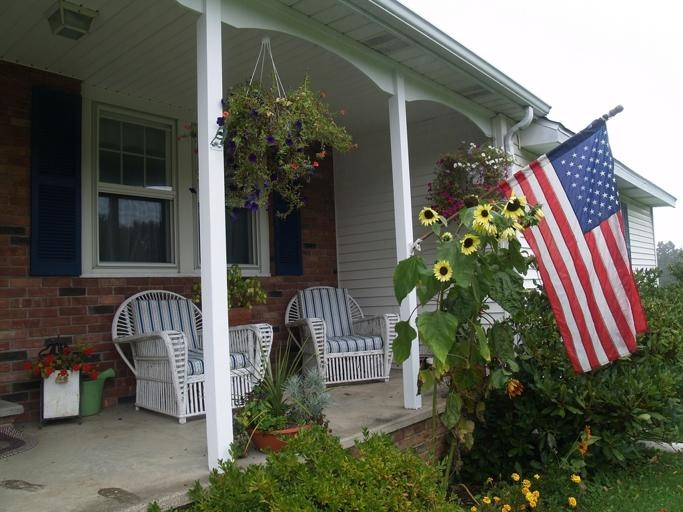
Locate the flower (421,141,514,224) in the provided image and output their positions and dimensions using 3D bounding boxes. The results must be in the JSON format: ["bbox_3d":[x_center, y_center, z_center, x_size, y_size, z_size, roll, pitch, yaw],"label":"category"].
[{"bbox_3d":[1.547,-0.938,6.654,0.891,0.985,0.894,-7,-11,41],"label":"flower"}]

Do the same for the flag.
[{"bbox_3d":[2.366,-0.151,5.355,1.086,2.411,0.324,-4,0,-3],"label":"flag"}]

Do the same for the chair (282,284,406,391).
[{"bbox_3d":[-0.084,1.044,7.264,1.167,1.432,1.405,0,-8,-22],"label":"chair"}]

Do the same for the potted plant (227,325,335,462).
[{"bbox_3d":[-0.539,1.173,4.434,0.820,0.685,0.802,-8,-16,22],"label":"potted plant"}]

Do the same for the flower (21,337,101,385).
[{"bbox_3d":[-2.758,1.017,5.360,0.517,0.407,0.440,1,-1,-38],"label":"flower"}]

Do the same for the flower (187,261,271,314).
[{"bbox_3d":[-1.183,0.436,6.638,0.573,0.477,0.610,4,-15,-24],"label":"flower"}]
